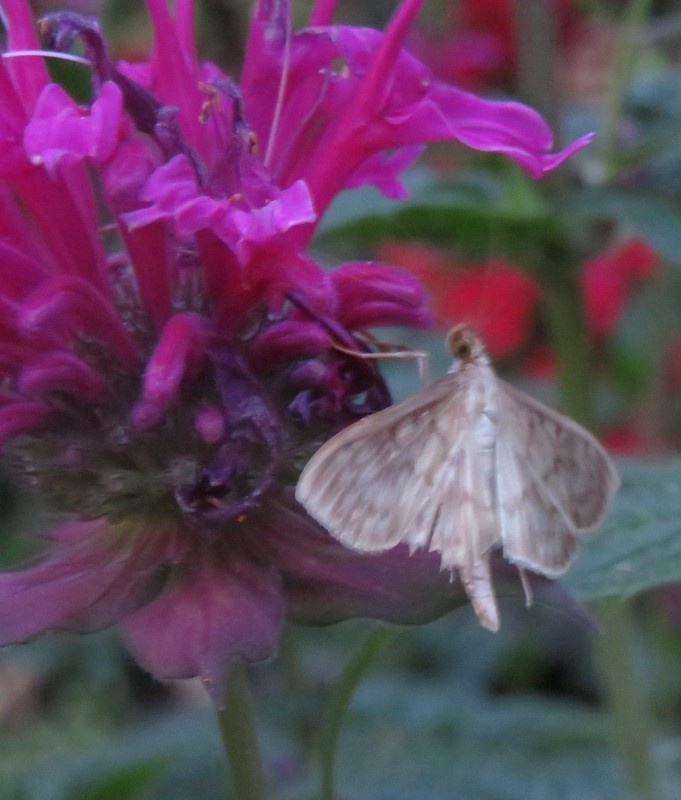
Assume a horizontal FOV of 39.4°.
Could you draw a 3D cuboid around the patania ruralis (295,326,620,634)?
[{"bbox_3d":[0.063,0.028,0.587,0.214,0.064,0.191,36,54,-20],"label":"patania ruralis"}]
